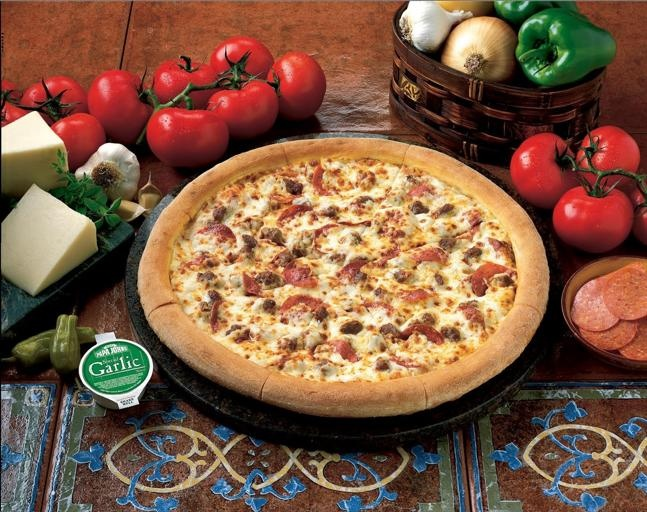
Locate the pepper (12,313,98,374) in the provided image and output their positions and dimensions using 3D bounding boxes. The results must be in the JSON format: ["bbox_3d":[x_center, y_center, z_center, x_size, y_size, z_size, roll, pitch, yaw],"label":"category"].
[{"bbox_3d":[-0.659,0.221,1.613,0.203,0.056,0.112,-9,52,-13],"label":"pepper"}]

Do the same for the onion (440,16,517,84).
[{"bbox_3d":[0.492,-0.636,2.056,0.250,0.223,0.231,-5,25,14],"label":"onion"}]

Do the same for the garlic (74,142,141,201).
[{"bbox_3d":[-0.645,-0.247,1.994,0.191,0.077,0.172,-40,94,-7],"label":"garlic"}]

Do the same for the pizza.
[{"bbox_3d":[0.053,0.000,1.710,0.967,0.159,0.963,-38,63,-18],"label":"pizza"}]
